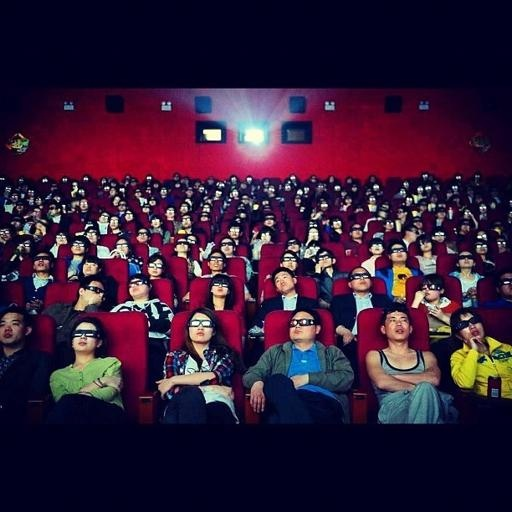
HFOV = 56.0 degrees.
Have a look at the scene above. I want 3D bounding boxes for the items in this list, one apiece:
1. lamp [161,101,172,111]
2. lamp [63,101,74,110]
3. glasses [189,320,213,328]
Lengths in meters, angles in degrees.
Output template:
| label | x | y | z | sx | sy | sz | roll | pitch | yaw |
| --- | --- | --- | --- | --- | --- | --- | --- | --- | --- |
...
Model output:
| label | x | y | z | sx | sy | sz | roll | pitch | yaw |
| --- | --- | --- | --- | --- | --- | --- | --- | --- | --- |
| lamp | -1.528 | -2.513 | 8.129 | 0.153 | 0.148 | 0.147 | 0 | -35 | -11 |
| lamp | -3.170 | -2.528 | 8.162 | 0.153 | 0.149 | 0.041 | -3 | 6 | 0 |
| glasses | -0.257 | 0.313 | 2.229 | 0.105 | 0.039 | 0.028 | 2 | -3 | -10 |
